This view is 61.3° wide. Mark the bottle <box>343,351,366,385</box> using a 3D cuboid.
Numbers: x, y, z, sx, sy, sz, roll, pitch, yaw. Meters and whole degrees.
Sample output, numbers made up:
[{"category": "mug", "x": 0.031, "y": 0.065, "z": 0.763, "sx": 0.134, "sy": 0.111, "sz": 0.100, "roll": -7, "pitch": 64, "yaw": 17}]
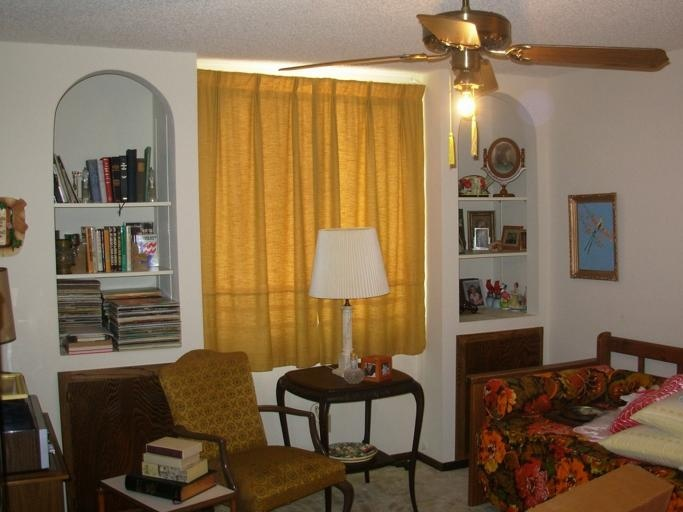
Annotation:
[{"category": "bottle", "x": 0.069, "y": 0.734, "z": 3.766, "sx": 0.150, "sy": 0.200, "sz": 0.150, "roll": -1, "pitch": 7, "yaw": 0}]

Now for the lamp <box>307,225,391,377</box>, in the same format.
[{"category": "lamp", "x": 0.049, "y": 0.312, "z": 3.783, "sx": 0.504, "sy": 0.979, "sz": 0.300, "roll": -2, "pitch": 4, "yaw": 8}]

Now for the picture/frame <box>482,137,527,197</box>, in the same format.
[{"category": "picture/frame", "x": 1.407, "y": -0.779, "z": 4.987, "sx": 0.351, "sy": 0.457, "sz": 0.211, "roll": -2, "pitch": 5, "yaw": 13}]

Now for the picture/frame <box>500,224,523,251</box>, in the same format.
[{"category": "picture/frame", "x": 1.475, "y": -0.152, "z": 4.970, "sx": 0.014, "sy": 0.185, "sz": 0.183, "roll": 14, "pitch": -25, "yaw": -28}]

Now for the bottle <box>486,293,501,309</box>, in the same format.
[{"category": "bottle", "x": 1.362, "y": 0.404, "z": 5.128, "sx": 0.065, "sy": 0.117, "sz": 0.121, "roll": 2, "pitch": 10, "yaw": -33}]

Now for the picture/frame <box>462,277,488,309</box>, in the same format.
[{"category": "picture/frame", "x": 1.174, "y": 0.339, "z": 5.104, "sx": 0.272, "sy": 0.271, "sz": 0.024, "roll": -1, "pitch": -6, "yaw": -40}]

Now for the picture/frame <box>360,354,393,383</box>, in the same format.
[{"category": "picture/frame", "x": 0.231, "y": 0.718, "z": 3.806, "sx": 0.163, "sy": 0.160, "sz": 0.166, "roll": 6, "pitch": 9, "yaw": 44}]

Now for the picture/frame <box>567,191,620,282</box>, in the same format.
[{"category": "picture/frame", "x": 1.920, "y": -0.147, "z": 4.396, "sx": 0.054, "sy": 0.635, "sz": 0.415, "roll": -6, "pitch": 5, "yaw": -32}]
